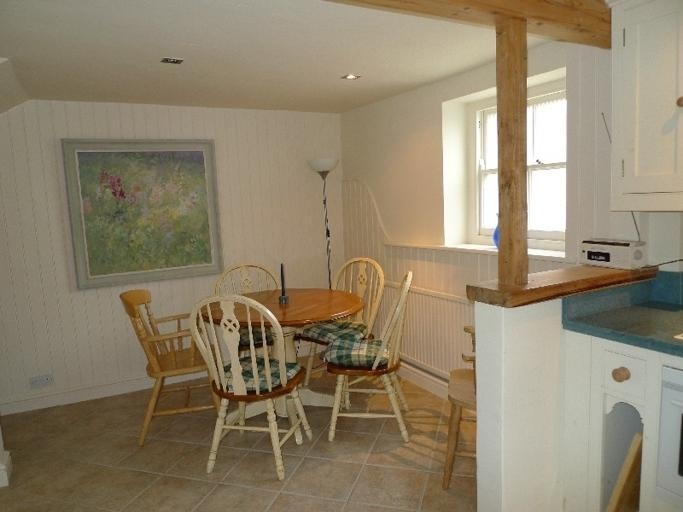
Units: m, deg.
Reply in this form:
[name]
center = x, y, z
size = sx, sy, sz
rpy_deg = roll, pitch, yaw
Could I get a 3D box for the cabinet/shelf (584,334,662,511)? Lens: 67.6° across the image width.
[cabinet/shelf]
center = 1.427, 0.919, 2.629
size = 0.338, 0.957, 0.177
rpy_deg = 6, 16, 33

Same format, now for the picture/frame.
[picture/frame]
center = -1.861, -0.398, 4.592
size = 1.410, 1.352, 0.098
rpy_deg = -7, 13, -31
